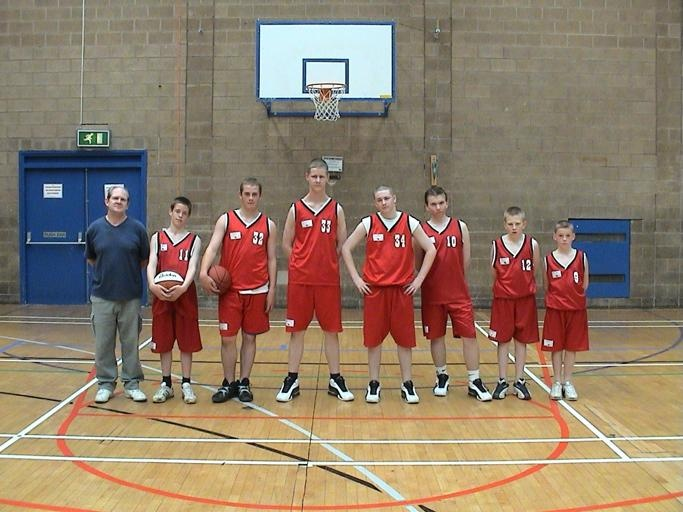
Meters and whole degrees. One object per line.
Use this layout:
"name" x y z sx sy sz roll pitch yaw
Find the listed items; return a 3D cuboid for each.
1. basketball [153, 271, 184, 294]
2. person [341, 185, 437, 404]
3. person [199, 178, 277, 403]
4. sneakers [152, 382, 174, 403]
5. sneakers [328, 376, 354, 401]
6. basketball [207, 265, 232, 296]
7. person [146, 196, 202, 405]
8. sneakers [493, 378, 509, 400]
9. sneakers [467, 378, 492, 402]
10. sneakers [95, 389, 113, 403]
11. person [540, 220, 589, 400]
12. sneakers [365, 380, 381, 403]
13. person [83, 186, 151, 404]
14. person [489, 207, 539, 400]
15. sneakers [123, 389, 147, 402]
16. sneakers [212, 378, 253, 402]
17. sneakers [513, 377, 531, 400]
"basketball" -1.697 0.243 7.469 0.202 0.147 0.180 1 -5 0
"person" 0.473 0.387 7.687 0.908 2.142 0.575 2 14 7
"person" -1.033 0.339 7.701 0.751 2.204 0.616 -2 14 -9
"sneakers" -1.801 1.397 7.723 0.102 0.150 0.285 -3 -10 5
"sneakers" -0.037 1.355 7.852 0.135 0.182 0.370 3 0 -30
"basketball" -1.196 0.228 7.530 0.222 0.299 0.238 0 14 43
"person" -1.665 0.441 7.651 0.526 2.000 0.662 -2 14 -12
"sneakers" 1.621 1.368 7.777 0.095 0.127 0.260 -3 -1 22
"sneakers" 1.403 1.362 7.791 0.115 0.147 0.321 -1 -1 -13
"sneakers" -2.375 1.391 7.614 0.080 0.102 0.220 -1 -7 -4
"person" 2.254 0.553 7.713 0.466 1.745 0.469 4 14 15
"sneakers" 0.318 1.383 7.725 0.164 0.208 0.481 0 -4 2
"person" -2.209 0.375 7.614 0.618 2.085 0.575 -4 14 -17
"person" 1.747 0.478 7.735 0.498 1.893 0.520 3 14 11
"sneakers" -2.077 1.399 7.671 0.244 0.111 0.094 -3 -2 41
"sneakers" -1.083 1.355 7.688 0.356 0.165 0.208 4 -6 -33
"sneakers" 1.835 1.371 7.763 0.095 0.137 0.261 -1 -4 1
